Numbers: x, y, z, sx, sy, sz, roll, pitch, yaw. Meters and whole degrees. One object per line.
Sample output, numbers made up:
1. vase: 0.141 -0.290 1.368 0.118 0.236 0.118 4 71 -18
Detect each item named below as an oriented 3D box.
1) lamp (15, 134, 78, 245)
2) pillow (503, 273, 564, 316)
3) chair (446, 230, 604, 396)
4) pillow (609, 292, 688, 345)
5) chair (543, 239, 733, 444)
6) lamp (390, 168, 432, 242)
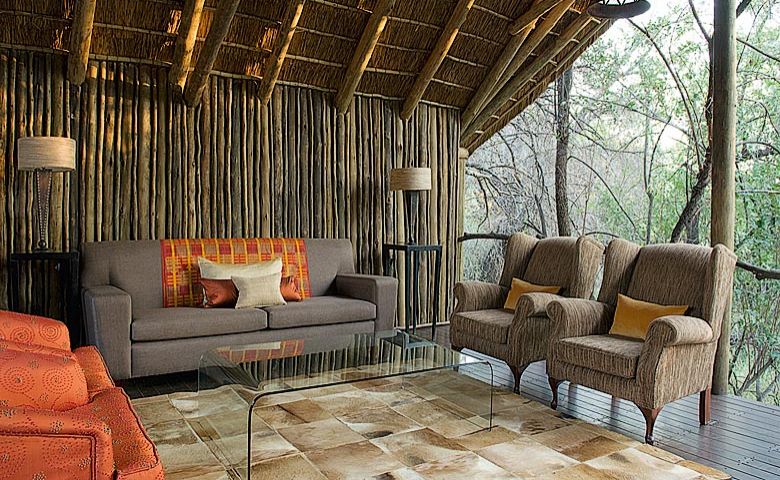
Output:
1. lamp: -3.294 -0.430 5.137 0.467 1.114 0.522 -7 14 -33
2. pillow: 1.440 0.477 5.151 0.450 0.130 0.272 0 40 6
3. chair: 1.321 0.676 5.191 1.240 1.369 1.363 4 5 43
4. pillow: 2.116 0.674 4.355 0.176 0.341 0.562 20 -7 -35
5. chair: 2.081 0.774 4.381 1.382 1.365 1.341 -2 4 -7
6. lamp: 0.232 -0.386 6.623 0.486 1.000 0.548 -1 12 -8
